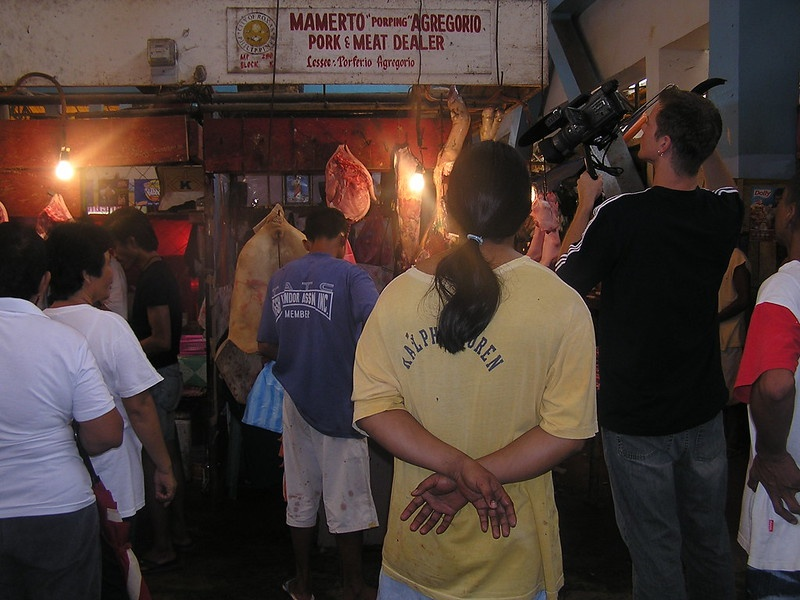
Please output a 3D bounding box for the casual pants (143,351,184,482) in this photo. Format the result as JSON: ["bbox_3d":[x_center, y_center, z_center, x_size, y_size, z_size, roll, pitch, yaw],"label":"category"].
[{"bbox_3d":[-1.568,0.945,5.146,0.169,0.651,0.210,-13,-8,-16],"label":"casual pants"}]

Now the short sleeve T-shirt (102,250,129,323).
[{"bbox_3d":[-1.901,-0.097,5.092,0.134,0.183,0.492,-5,37,-8],"label":"short sleeve T-shirt"}]

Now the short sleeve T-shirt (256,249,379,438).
[{"bbox_3d":[-0.493,0.267,4.740,0.840,1.158,0.419,10,16,17],"label":"short sleeve T-shirt"}]

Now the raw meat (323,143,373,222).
[{"bbox_3d":[-0.387,-0.860,5.646,0.390,0.549,0.186,-5,15,-13],"label":"raw meat"}]

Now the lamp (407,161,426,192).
[{"bbox_3d":[0.117,-0.894,5.559,0.146,0.161,0.336,2,37,1],"label":"lamp"}]
